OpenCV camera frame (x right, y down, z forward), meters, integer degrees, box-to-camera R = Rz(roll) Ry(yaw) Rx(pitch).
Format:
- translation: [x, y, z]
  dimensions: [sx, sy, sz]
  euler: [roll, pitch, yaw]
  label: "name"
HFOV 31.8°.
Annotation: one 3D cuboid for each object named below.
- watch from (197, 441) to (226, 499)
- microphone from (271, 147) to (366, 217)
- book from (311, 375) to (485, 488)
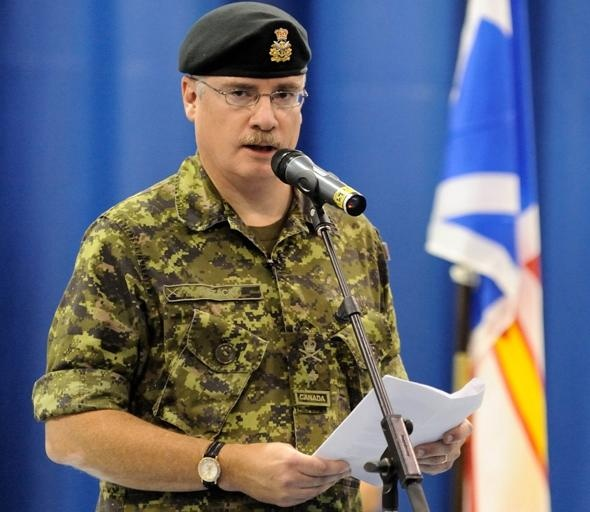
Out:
- translation: [-0.209, 0.525, 2.572]
  dimensions: [0.060, 0.104, 0.053]
  euler: [3, -1, -4]
  label: "watch"
- translation: [0.047, -0.181, 2.560]
  dimensions: [0.353, 0.100, 0.098]
  euler: [25, -13, 43]
  label: "microphone"
- translation: [0.214, 0.397, 2.517]
  dimensions: [0.330, 0.131, 0.346]
  euler: [10, -39, -45]
  label: "book"
